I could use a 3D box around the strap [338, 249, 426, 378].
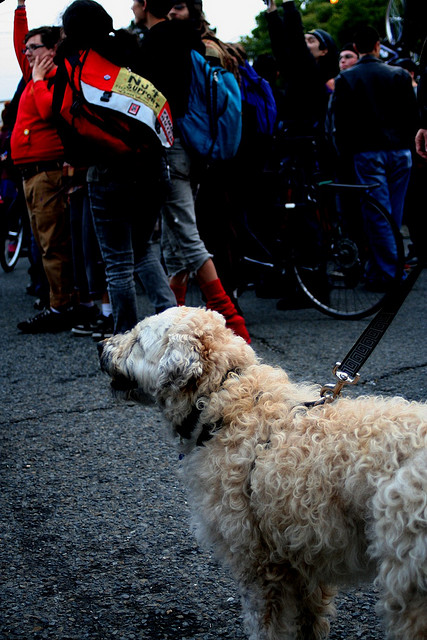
[{"bbox_3d":[1.065,-0.046,4.620,0.138,0.129,1.151,28,64,14],"label":"strap"}]

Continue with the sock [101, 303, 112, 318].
[{"bbox_3d":[-0.836,-0.063,5.610,0.101,0.094,0.094,1,2,-32],"label":"sock"}]

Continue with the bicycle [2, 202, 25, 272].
[{"bbox_3d":[-2.488,-0.915,9.081,0.309,0.635,0.852,-9,20,-14],"label":"bicycle"}]

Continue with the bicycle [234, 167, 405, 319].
[{"bbox_3d":[1.115,-0.660,5.743,1.644,0.966,0.878,9,19,36],"label":"bicycle"}]

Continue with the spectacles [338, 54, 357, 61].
[{"bbox_3d":[1.307,-2.584,7.141,0.174,0.041,0.094,9,22,32],"label":"spectacles"}]

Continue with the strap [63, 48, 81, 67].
[{"bbox_3d":[-0.713,-1.340,3.690,0.071,0.093,0.073,-9,9,-16],"label":"strap"}]

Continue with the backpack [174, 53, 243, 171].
[{"bbox_3d":[-0.034,-1.234,4.231,0.427,0.597,0.125,-16,24,-30],"label":"backpack"}]

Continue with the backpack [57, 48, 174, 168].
[{"bbox_3d":[-0.481,-1.067,3.705,0.602,0.440,0.205,24,8,-18],"label":"backpack"}]
